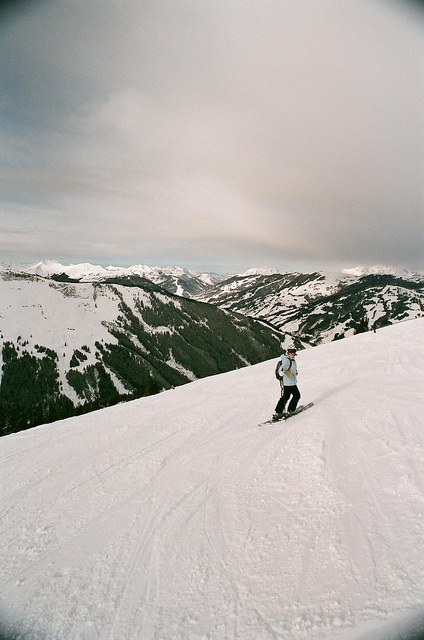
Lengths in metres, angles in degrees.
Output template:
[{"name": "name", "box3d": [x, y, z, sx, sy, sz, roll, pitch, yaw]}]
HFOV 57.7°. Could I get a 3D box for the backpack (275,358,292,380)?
[{"name": "backpack", "box3d": [2.062, 1.469, 11.372, 0.444, 0.518, 0.370, -1, 3, -7]}]
